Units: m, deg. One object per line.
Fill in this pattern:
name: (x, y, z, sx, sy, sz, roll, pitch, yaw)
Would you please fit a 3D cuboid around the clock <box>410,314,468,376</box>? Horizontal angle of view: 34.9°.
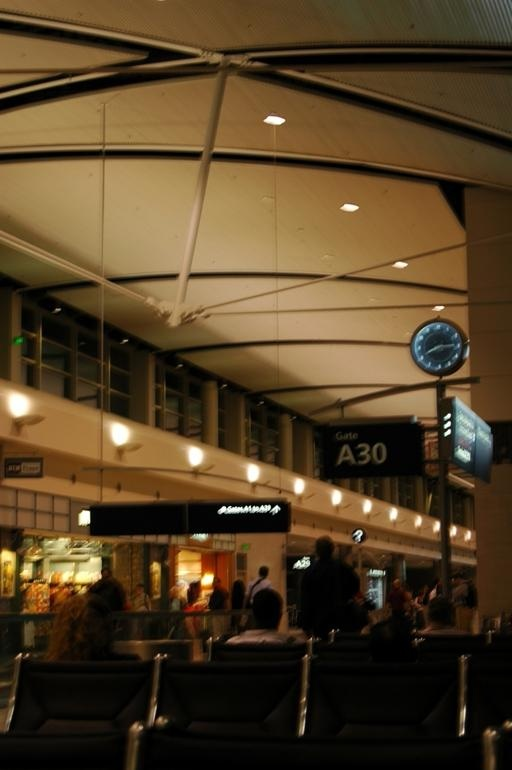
clock: (2.280, -0.455, 10.133, 0.843, 0.783, 0.186, 21, 11, 42)
